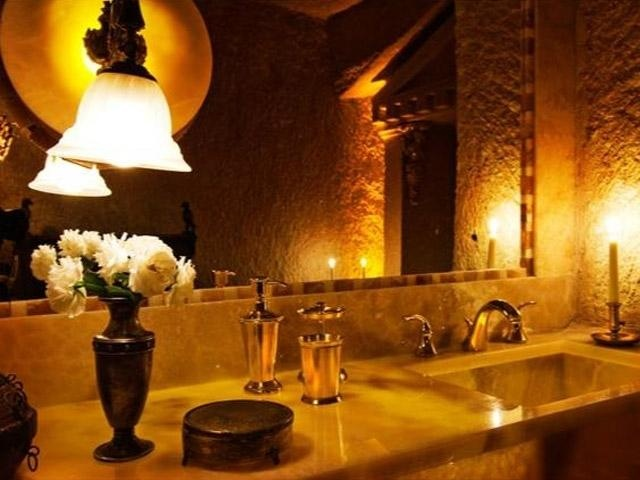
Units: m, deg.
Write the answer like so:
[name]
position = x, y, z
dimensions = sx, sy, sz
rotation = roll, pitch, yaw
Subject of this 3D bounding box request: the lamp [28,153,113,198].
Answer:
[lamp]
position = -0.613, -0.144, 1.456
dimensions = 0.122, 0.051, 0.117
rotation = 4, -8, -12

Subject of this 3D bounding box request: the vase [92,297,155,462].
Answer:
[vase]
position = -0.404, 0.278, 1.211
dimensions = 0.129, 0.321, 0.108
rotation = -3, 11, -16

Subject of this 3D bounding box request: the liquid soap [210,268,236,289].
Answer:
[liquid soap]
position = -0.261, 0.092, 1.591
dimensions = 0.054, 0.035, 0.034
rotation = 4, -7, -29

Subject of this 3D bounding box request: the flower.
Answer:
[flower]
position = -0.486, 0.078, 1.312
dimensions = 0.248, 0.198, 0.396
rotation = -8, 13, -41
